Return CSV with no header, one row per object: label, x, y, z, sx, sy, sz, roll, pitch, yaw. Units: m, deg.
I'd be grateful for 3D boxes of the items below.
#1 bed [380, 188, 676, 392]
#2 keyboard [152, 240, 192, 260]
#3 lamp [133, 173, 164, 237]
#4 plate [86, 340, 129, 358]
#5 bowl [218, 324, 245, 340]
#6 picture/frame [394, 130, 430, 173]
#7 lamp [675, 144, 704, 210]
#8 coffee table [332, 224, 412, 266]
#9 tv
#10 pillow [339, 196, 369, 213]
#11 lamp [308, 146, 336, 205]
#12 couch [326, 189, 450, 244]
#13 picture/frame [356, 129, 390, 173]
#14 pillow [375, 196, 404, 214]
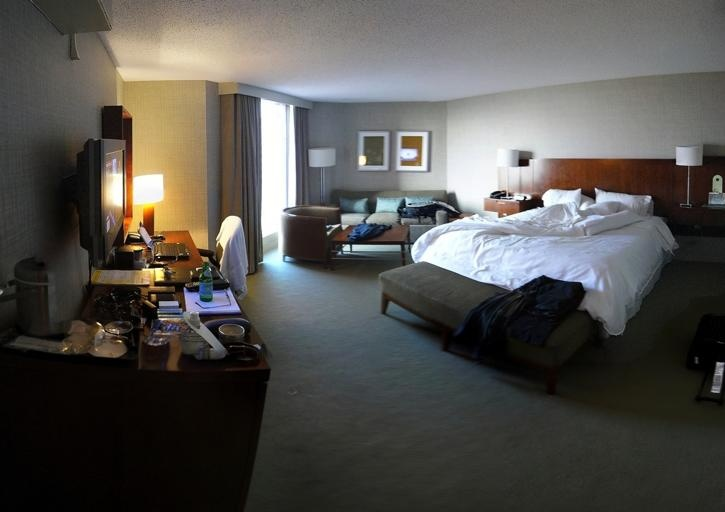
bed,1.839,0.014,4.979,1.837,0.907,2.821,6,16,41
keyboard,-1.624,-0.038,4.147,0.199,0.060,0.275,-1,15,-29
lamp,-2.168,-0.520,4.975,0.293,0.589,0.310,-6,13,-22
plate,-1.130,0.410,2.178,0.147,0.025,0.220,-6,11,-26
bowl,-0.670,0.385,2.498,0.091,0.052,0.095,1,10,0
picture/frame,0.934,-1.995,9.240,0.902,0.850,0.068,3,14,14
lamp,4.203,-1.035,6.383,0.309,0.809,0.412,5,14,31
coffee table,0.109,-0.229,6.955,0.748,0.287,0.945,1,18,9
tv,-1.578,-0.331,2.940,0.177,0.528,0.995,-2,12,-19
pillow,-0.163,-0.930,9.036,0.487,0.252,0.143,3,-8,16
lamp,-0.767,-1.457,8.959,0.466,1.047,0.670,-3,11,-7
couch,0.453,-0.777,8.838,2.190,0.788,0.861,-6,3,17
picture/frame,0.192,-2.021,9.316,0.941,0.926,0.078,1,13,8
pillow,0.485,-0.912,8.854,0.454,0.250,0.146,1,5,7
